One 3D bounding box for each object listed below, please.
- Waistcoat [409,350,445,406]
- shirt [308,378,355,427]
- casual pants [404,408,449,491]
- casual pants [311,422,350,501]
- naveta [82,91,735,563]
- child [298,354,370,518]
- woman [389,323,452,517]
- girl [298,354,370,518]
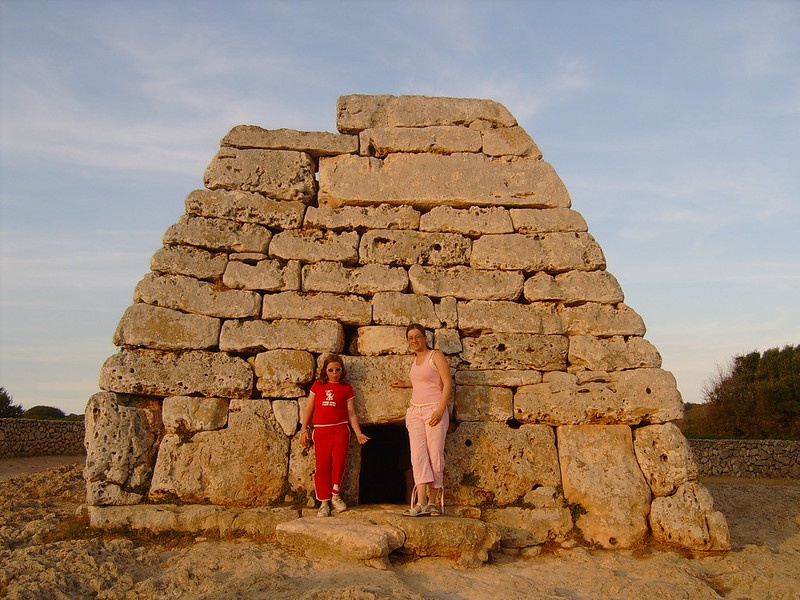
[{"bbox_3d":[0.288,0.801,7.786,0.388,0.557,0.284,-14,-25,35],"label":"Waistcoat"},{"bbox_3d":[-0.692,1.050,7.865,0.470,0.478,0.273,4,1,0],"label":"shirt"},{"bbox_3d":[0.270,1.463,7.720,0.401,0.788,0.437,-1,1,-4],"label":"casual pants"},{"bbox_3d":[-0.701,1.619,7.727,0.356,0.745,0.285,2,6,-7],"label":"casual pants"},{"bbox_3d":[-0.351,0.282,9.675,5.672,5.480,6.284,1,-2,-25],"label":"naveta"},{"bbox_3d":[-0.680,1.353,7.735,0.517,1.626,0.621,1,-3,-2],"label":"child"},{"bbox_3d":[0.172,1.212,7.850,0.596,1.708,0.601,2,0,-11],"label":"woman"},{"bbox_3d":[-0.656,1.335,7.840,0.643,1.545,0.360,-1,-8,1],"label":"girl"}]
